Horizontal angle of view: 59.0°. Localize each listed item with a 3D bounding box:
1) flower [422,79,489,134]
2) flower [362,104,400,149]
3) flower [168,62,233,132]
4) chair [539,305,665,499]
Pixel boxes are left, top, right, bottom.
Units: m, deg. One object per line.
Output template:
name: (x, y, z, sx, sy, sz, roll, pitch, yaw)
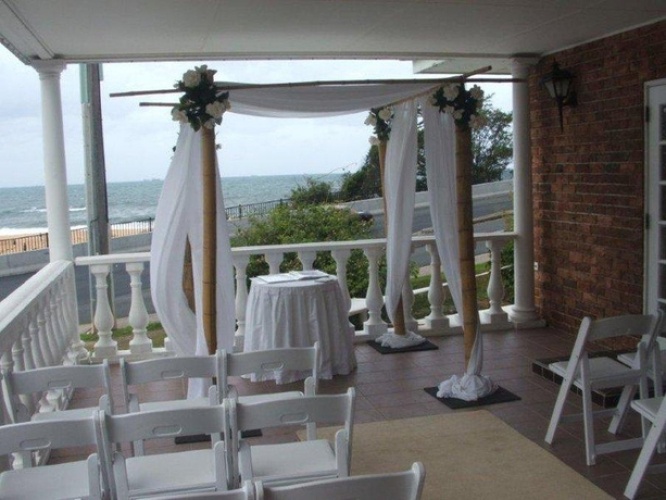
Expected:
flower: (1.135, -1.259, 5.275, 0.402, 0.459, 0.370, 12, 11, 5)
flower: (0.499, -1.325, 6.255, 0.323, 0.461, 0.341, -11, 13, -36)
flower: (-1.040, -1.183, 4.607, 0.442, 0.505, 0.276, -4, 10, -9)
chair: (2.042, 0.905, 4.391, 0.964, 1.061, 0.698, -11, 13, -41)
